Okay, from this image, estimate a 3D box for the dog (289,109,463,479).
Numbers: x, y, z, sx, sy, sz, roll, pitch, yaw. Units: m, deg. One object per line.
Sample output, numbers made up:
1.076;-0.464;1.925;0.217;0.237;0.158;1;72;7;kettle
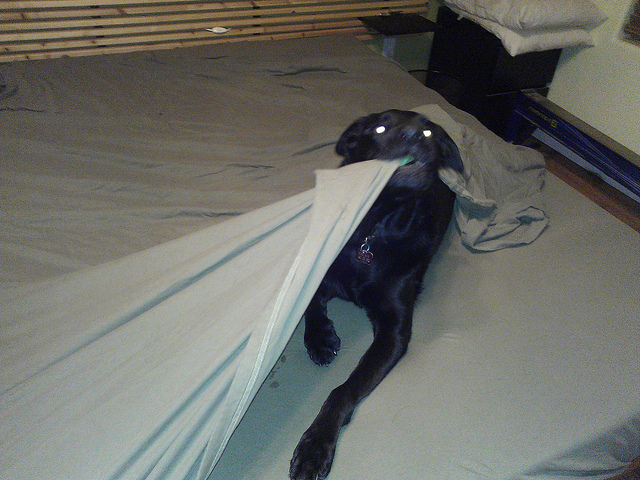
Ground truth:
0.245;0.063;1.978;0.474;0.699;1.419;19;49;15;dog
